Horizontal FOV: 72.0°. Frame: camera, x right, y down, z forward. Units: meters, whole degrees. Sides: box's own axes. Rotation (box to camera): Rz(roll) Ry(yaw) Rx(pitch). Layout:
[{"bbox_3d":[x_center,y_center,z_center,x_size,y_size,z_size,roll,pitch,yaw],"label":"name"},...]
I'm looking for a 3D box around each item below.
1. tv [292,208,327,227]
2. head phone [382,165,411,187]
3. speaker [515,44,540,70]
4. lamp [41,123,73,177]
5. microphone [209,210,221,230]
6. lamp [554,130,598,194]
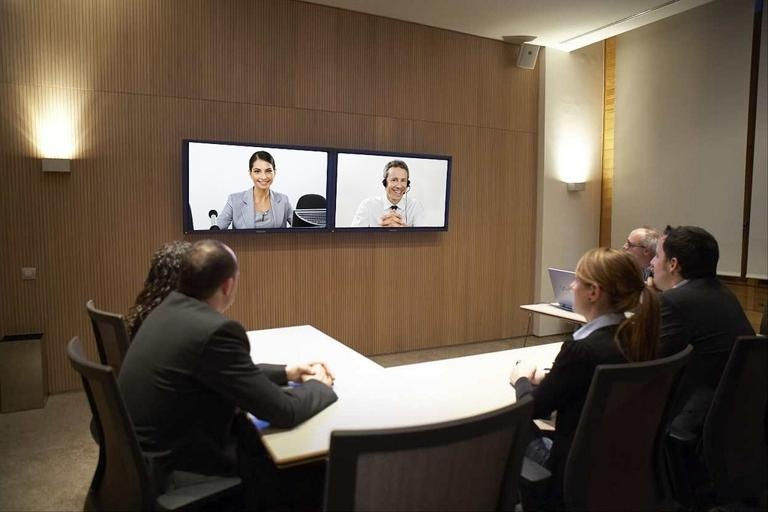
[{"bbox_3d":[-0.861,-0.448,6.177,0.294,0.240,0.102,-3,20,-23],"label":"tv"},{"bbox_3d":[0.097,-1.016,6.527,0.246,0.309,0.125,2,10,-10],"label":"head phone"},{"bbox_3d":[1.939,-2.731,7.209,0.232,0.343,0.183,-8,45,-16],"label":"speaker"},{"bbox_3d":[-3.280,-1.094,5.287,0.294,0.530,0.136,0,10,-24],"label":"lamp"},{"bbox_3d":[-1.857,-0.397,5.748,0.110,0.223,0.021,-1,10,-28],"label":"microphone"},{"bbox_3d":[2.734,-1.364,7.629,0.580,0.890,0.225,2,-9,25],"label":"lamp"}]
